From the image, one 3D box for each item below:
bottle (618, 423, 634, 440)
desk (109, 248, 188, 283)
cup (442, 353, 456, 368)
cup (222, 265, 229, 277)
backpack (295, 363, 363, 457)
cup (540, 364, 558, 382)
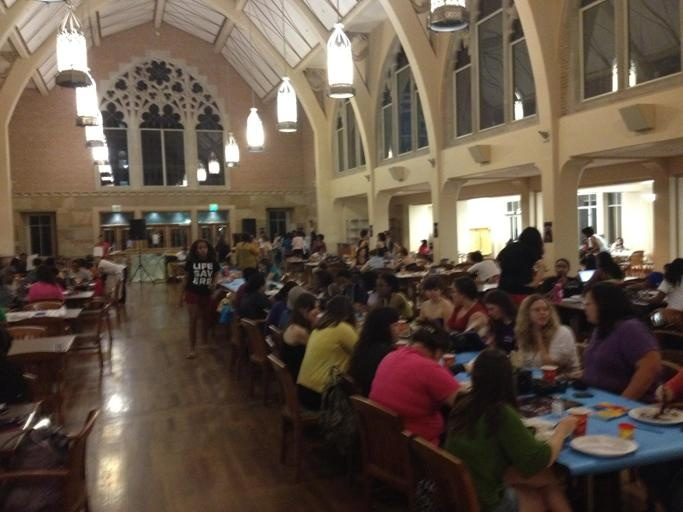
[{"bbox_3d":[1.926,1.175,3.673,0.090,0.093,0.094,-3,6,-4],"label":"bottle"},{"bbox_3d":[-7.768,0.415,21.745,2.699,1.459,0.926,-3,8,-23],"label":"desk"},{"bbox_3d":[1.000,0.971,5.127,0.130,0.160,0.176,0,-4,3],"label":"cup"},{"bbox_3d":[-2.665,0.343,12.470,0.145,0.270,0.144,2,-4,0],"label":"cup"},{"bbox_3d":[-0.010,1.422,4.971,0.466,0.690,0.253,6,-7,16],"label":"backpack"},{"bbox_3d":[1.758,0.993,4.553,0.164,0.139,0.116,-7,9,-15],"label":"cup"}]
